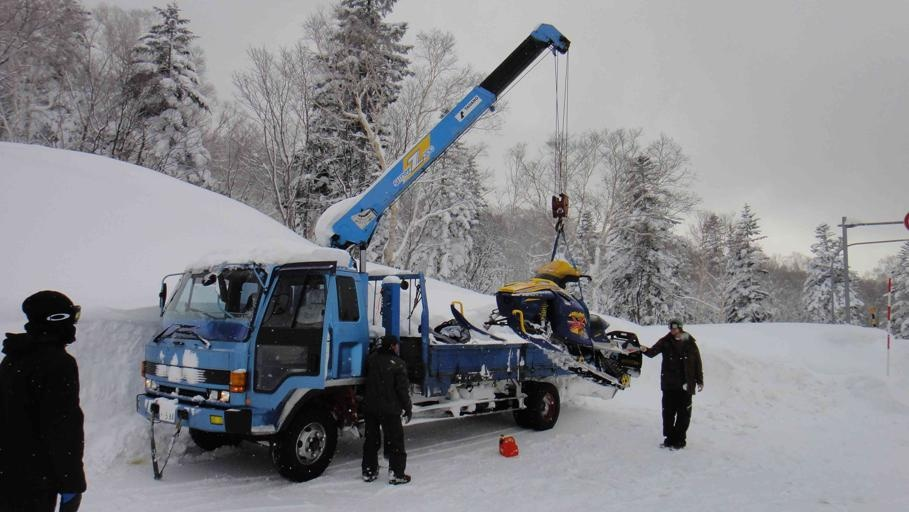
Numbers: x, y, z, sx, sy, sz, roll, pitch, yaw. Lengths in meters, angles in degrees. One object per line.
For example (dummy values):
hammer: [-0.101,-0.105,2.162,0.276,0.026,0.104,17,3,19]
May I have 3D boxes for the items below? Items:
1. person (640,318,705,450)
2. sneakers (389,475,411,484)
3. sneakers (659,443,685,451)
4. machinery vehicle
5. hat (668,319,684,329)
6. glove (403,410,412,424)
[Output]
person: [6.569,3.748,21.428,1.389,3.770,0.720,1,-5,17]
sneakers: [-1.443,5.975,19.202,0.518,0.216,0.213,-1,4,-15]
sneakers: [6.345,5.534,21.042,0.480,0.135,0.287,3,-7,11]
machinery vehicle: [-2.352,-0.626,21.498,11.898,13.814,4.379,5,-5,-29]
hat: [6.522,2.005,21.453,0.369,0.276,0.268,22,-4,-15]
glove: [-1.277,4.371,19.587,0.169,0.432,0.329,0,0,-14]
